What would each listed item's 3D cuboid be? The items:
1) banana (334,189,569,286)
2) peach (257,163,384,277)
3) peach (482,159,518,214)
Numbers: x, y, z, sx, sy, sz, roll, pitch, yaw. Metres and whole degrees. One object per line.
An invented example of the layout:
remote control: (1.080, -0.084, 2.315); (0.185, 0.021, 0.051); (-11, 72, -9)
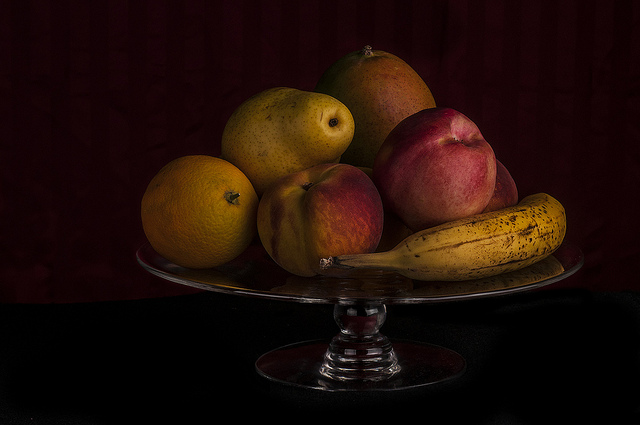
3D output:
banana: (0.234, 0.054, 1.044); (0.397, 0.144, 0.113); (-7, 14, -18)
peach: (0.002, 0.008, 1.085); (0.194, 0.175, 0.168); (-15, 10, 1)
peach: (0.316, -0.041, 1.127); (0.079, 0.099, 0.082); (4, -7, 2)
